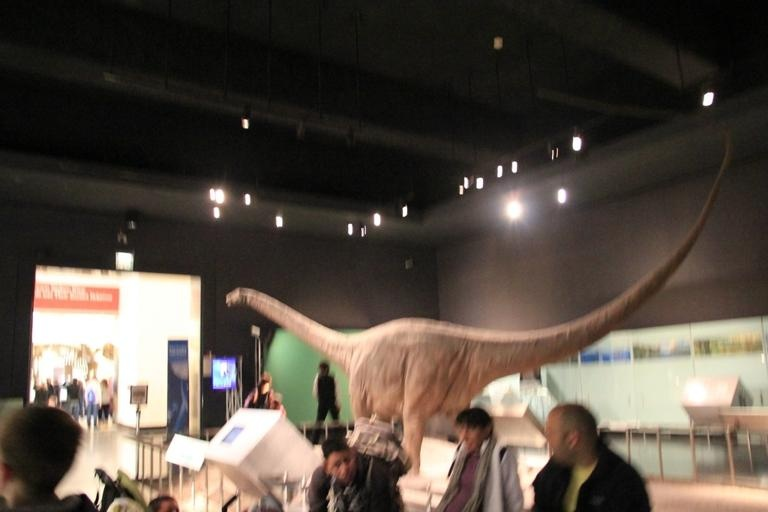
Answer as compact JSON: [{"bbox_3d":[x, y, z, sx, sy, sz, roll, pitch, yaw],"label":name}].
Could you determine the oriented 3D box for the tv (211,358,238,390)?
[{"bbox_3d":[-2.388,1.762,8.322,0.387,0.497,0.047,10,-19,-38],"label":"tv"}]
